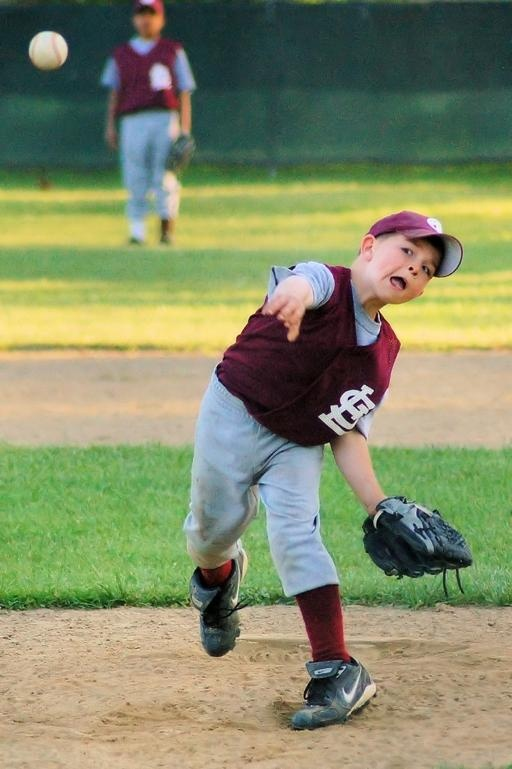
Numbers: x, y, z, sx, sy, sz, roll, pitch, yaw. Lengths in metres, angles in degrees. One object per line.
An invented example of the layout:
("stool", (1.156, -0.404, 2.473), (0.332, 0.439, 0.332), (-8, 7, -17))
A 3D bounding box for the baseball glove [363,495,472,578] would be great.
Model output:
("baseball glove", (0.364, 0.419, 3.145), (0.346, 0.135, 0.242), (0, -29, -6))

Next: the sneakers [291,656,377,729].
("sneakers", (0.185, 0.747, 3.033), (0.121, 0.136, 0.329), (-5, 6, 34))

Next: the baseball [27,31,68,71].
("baseball", (-1.089, -1.741, 6.370), (0.175, 0.187, 0.257), (0, 13, -4))

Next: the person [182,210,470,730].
("person", (0.158, 0.183, 3.164), (0.587, 1.250, 0.623), (-8, 16, -30))

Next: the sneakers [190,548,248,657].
("sneakers", (-0.098, 0.599, 3.413), (0.124, 0.314, 0.154), (-2, 1, 6))

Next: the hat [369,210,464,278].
("hat", (0.387, -0.373, 3.048), (0.227, 0.104, 0.162), (-3, -23, 35))
